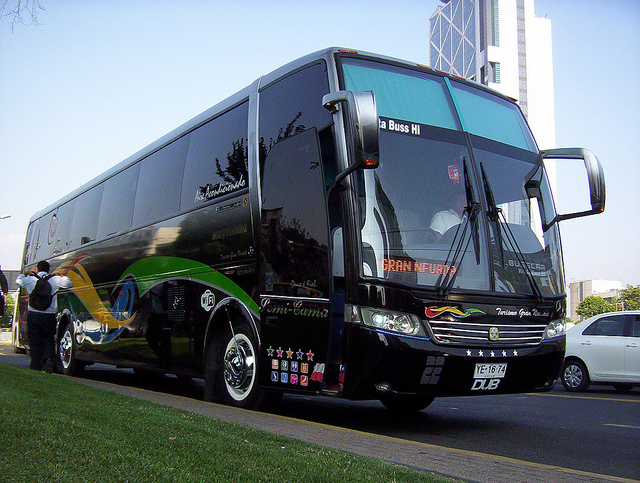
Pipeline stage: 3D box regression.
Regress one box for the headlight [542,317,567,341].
[{"bbox_3d":[3.370,1.249,6.761,0.390,0.185,0.236,-12,-11,39],"label":"headlight"}]
